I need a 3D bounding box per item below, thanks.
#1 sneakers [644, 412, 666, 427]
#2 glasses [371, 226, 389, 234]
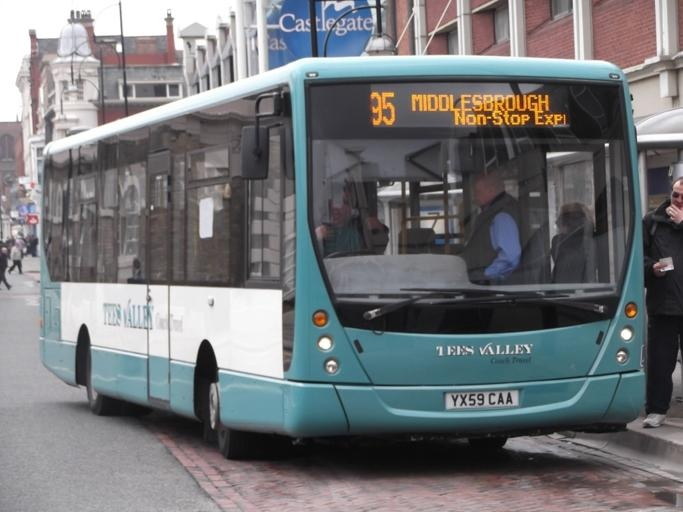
[{"bbox_3d":[2.951,1.564,7.631,0.093,0.125,0.263,-5,-11,40],"label":"sneakers"},{"bbox_3d":[0.295,-0.194,6.276,0.071,0.042,0.075,1,-6,-12],"label":"glasses"}]
